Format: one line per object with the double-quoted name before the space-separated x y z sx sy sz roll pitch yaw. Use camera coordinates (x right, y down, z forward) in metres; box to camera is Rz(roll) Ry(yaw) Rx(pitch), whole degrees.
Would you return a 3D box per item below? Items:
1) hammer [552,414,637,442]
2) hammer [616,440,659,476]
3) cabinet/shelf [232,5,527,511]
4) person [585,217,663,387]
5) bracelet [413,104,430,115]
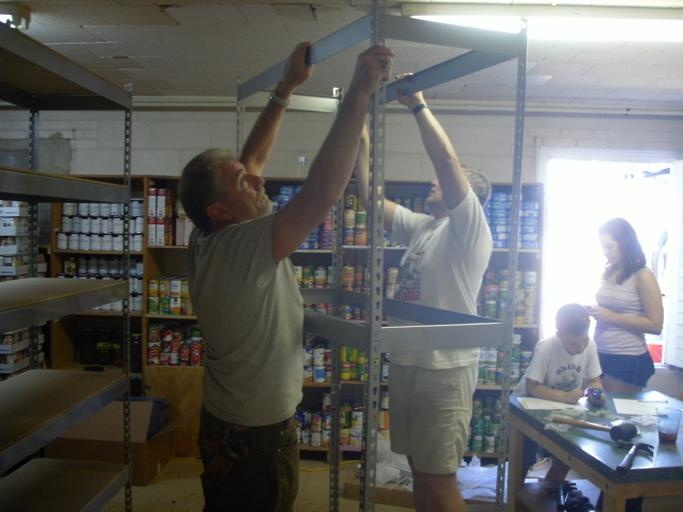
"hammer" 1.366 0.870 3.355 0.142 0.080 0.381 -4 3 -37
"hammer" 1.487 1.004 3.139 0.157 0.144 0.128 -11 -17 -43
"cabinet/shelf" 0.210 0.105 2.908 1.290 2.347 0.691 2 2 -10
"person" 2.058 0.346 4.486 0.464 1.115 0.267 3 2 27
"bracelet" 0.397 -0.721 3.057 0.044 0.059 0.059 3 -14 -12
